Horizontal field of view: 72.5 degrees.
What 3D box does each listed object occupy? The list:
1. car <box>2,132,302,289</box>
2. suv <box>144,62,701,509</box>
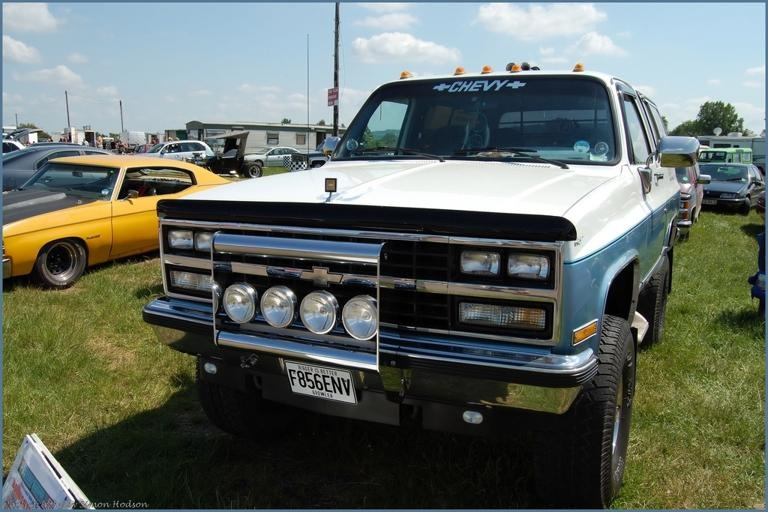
[{"bbox_3d":[-4.472,-0.955,8.885,2.226,1.357,4.501,5,10,33],"label":"car"},{"bbox_3d":[1.098,-0.216,4.901,2.819,2.239,4.868,3,6,32],"label":"suv"}]
